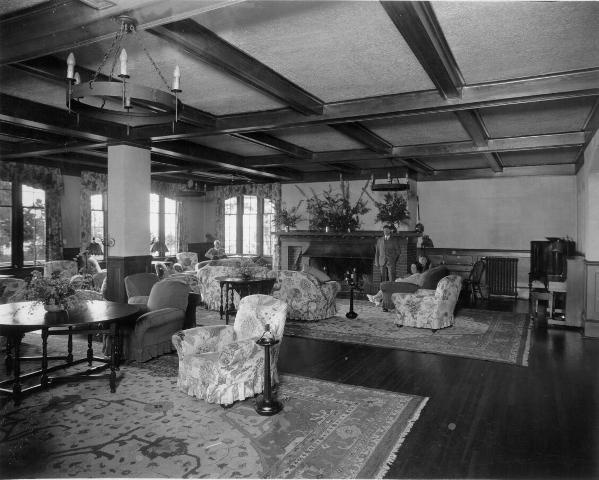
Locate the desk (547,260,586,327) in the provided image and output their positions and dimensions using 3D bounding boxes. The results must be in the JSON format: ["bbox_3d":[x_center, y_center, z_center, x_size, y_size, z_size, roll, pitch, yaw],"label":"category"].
[{"bbox_3d":[4.958,1.009,7.988,0.614,1.109,1.343,1,-1,31],"label":"desk"}]

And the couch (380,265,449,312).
[{"bbox_3d":[2.151,0.860,8.410,1.067,0.711,1.092,-2,1,40],"label":"couch"}]

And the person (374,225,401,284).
[{"bbox_3d":[2.114,0.434,10.494,0.606,1.580,0.391,-4,26,7],"label":"person"}]

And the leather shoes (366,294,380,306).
[{"bbox_3d":[1.727,1.378,10.007,0.300,0.094,0.223,-3,7,-34],"label":"leather shoes"}]

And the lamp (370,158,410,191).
[{"bbox_3d":[2.140,-1.519,10.193,1.143,0.537,1.078,-1,-4,13],"label":"lamp"}]

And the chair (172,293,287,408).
[{"bbox_3d":[-0.732,1.187,5.071,1.214,1.033,1.301,-1,-4,43],"label":"chair"}]

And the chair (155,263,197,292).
[{"bbox_3d":[-2.492,0.738,8.775,0.675,0.703,0.667,0,2,3],"label":"chair"}]

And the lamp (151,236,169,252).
[{"bbox_3d":[-4.137,0.101,12.708,0.540,0.377,0.551,3,4,42],"label":"lamp"}]

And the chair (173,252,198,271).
[{"bbox_3d":[-3.093,0.550,11.932,0.650,0.632,0.616,1,-7,-20],"label":"chair"}]

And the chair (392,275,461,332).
[{"bbox_3d":[2.463,1.099,8.005,1.150,0.908,0.986,-1,-2,29],"label":"chair"}]

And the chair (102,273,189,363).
[{"bbox_3d":[-1.976,1.131,6.471,1.168,1.208,1.269,0,-3,39],"label":"chair"}]

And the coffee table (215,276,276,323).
[{"bbox_3d":[-1.146,1.067,8.312,1.028,0.625,0.996,-2,-5,24],"label":"coffee table"}]

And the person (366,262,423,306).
[{"bbox_3d":[2.126,0.985,9.556,1.116,0.929,1.125,-3,-3,34],"label":"person"}]

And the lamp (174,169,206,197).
[{"bbox_3d":[-3.158,-1.673,12.473,1.077,0.994,0.996,0,5,-23],"label":"lamp"}]

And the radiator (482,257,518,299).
[{"bbox_3d":[5.205,0.943,11.168,0.796,1.032,0.523,2,5,18],"label":"radiator"}]

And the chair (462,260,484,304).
[{"bbox_3d":[4.459,0.976,11.048,0.533,1.003,1.412,2,4,21],"label":"chair"}]

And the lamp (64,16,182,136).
[{"bbox_3d":[-1.633,-1.588,4.042,1.117,0.799,0.996,4,10,-7],"label":"lamp"}]

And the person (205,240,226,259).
[{"bbox_3d":[-2.749,0.289,14.198,0.722,0.809,0.488,1,-9,-17],"label":"person"}]
